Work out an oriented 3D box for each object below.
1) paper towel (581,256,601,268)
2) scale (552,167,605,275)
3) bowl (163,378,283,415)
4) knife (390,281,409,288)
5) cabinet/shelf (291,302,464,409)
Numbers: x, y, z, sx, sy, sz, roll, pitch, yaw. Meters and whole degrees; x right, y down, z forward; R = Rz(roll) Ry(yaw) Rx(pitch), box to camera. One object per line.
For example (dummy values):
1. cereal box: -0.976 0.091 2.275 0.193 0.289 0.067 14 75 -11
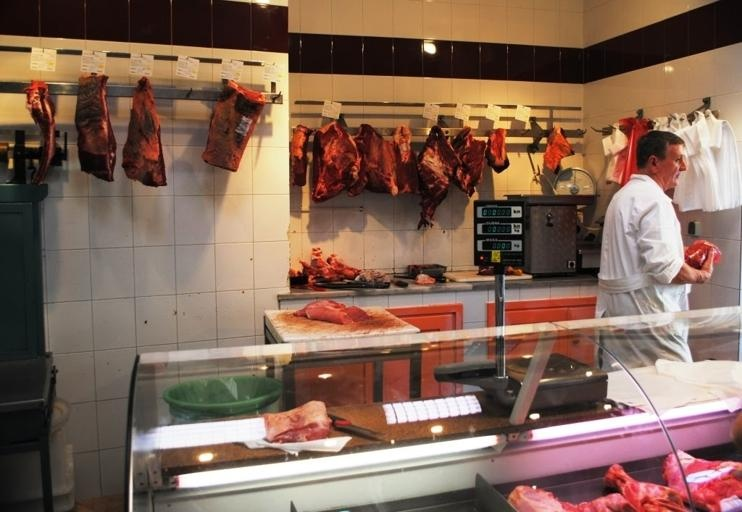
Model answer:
1. paper towel: 1.979 0.044 5.487 0.190 0.129 0.106 0 0 -7
2. scale: 1.855 -0.477 5.578 0.388 0.641 0.340 -2 23 10
3. bowl: -0.588 0.557 2.418 0.242 0.059 0.203 5 6 5
4. knife: 0.242 0.225 5.031 0.132 0.025 0.265 -2 9 -7
5. cabinet/shelf: 0.007 0.491 2.591 0.772 0.153 0.298 -2 8 -7
